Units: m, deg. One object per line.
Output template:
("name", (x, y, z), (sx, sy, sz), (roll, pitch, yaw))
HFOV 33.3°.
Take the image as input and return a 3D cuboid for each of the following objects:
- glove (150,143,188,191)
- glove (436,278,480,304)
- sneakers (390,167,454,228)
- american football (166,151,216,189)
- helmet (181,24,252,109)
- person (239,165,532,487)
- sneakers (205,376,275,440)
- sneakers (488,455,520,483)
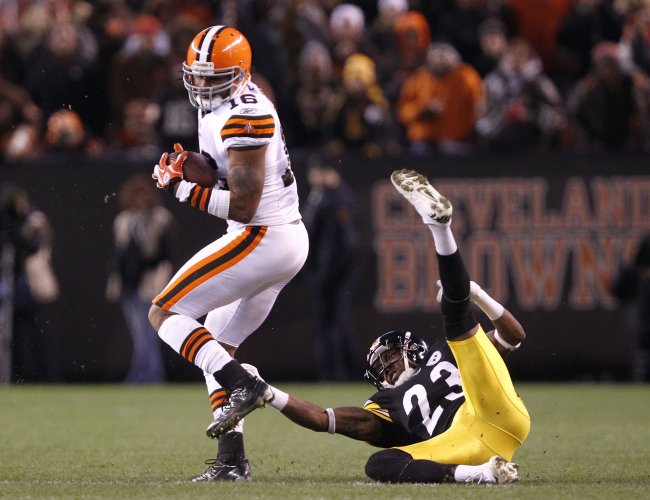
("glove", (-1.009, -0.580, 7.110), (0.214, 0.081, 0.302), (-9, 60, 41))
("glove", (0.934, 0.307, 7.323), (0.235, 0.127, 0.333), (1, 17, -19))
("sneakers", (0.654, -0.358, 7.095), (0.218, 0.221, 0.561), (-31, 69, -15))
("american football", (-0.922, -0.546, 7.168), (0.201, 0.214, 0.254), (18, -6, 45))
("helmet", (-0.739, -1.285, 7.429), (0.414, 0.483, 0.571), (9, 32, 19))
("person", (0.607, 0.533, 6.956), (1.385, 1.633, 1.177), (1, 27, 10))
("sneakers", (-0.550, 0.996, 6.905), (0.458, 0.300, 0.169), (-13, 28, -16))
("sneakers", (1.121, 1.369, 6.762), (0.184, 0.140, 0.081), (27, 27, 0))
